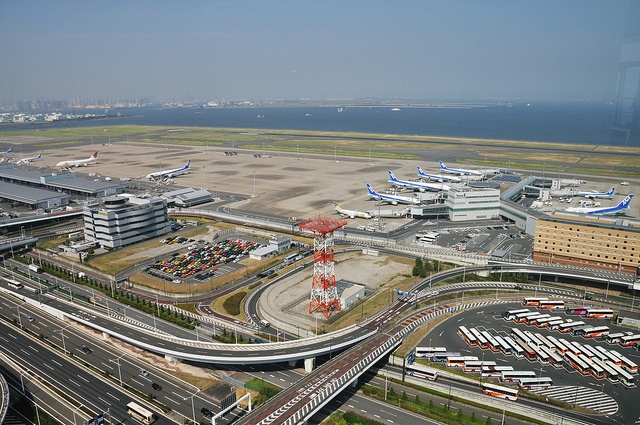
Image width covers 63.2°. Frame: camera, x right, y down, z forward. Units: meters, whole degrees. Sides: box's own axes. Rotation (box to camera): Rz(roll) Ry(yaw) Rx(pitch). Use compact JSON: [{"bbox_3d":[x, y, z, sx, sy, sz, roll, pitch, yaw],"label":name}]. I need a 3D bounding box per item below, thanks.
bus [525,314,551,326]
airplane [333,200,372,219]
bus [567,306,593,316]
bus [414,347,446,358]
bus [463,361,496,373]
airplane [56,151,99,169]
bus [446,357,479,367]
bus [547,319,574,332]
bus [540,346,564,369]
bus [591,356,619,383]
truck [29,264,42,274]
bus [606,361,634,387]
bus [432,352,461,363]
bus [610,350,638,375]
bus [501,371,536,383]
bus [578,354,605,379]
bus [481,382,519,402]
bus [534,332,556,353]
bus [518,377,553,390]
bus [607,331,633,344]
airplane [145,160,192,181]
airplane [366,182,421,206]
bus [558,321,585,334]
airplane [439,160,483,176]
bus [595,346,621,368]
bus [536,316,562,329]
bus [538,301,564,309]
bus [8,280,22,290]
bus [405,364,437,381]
[{"bbox_3d":[37.165,18.741,90.556,6.353,1.220,1.271,-6,41,-8],"label":"bus"},{"bbox_3d":[8.743,-0.148,133.760,5.871,2.764,9.506,-12,16,-42],"label":"airplane"},{"bbox_3d":[45.643,17.519,92.832,5.459,0.983,1.410,-1,11,-5],"label":"bus"},{"bbox_3d":[17.477,22.558,83.787,5.932,1.364,1.493,0,-25,2],"label":"bus"},{"bbox_3d":[25.454,24.096,81.460,6.205,1.280,1.545,-1,36,0],"label":"bus"},{"bbox_3d":[-97.280,-20.892,208.767,14.548,4.015,10.894,-9,23,-22],"label":"airplane"},{"bbox_3d":[22.916,23.566,82.173,5.891,1.255,1.510,-2,36,2],"label":"bus"},{"bbox_3d":[41.723,19.245,89.857,5.828,1.106,1.476,-9,22,-21],"label":"bus"},{"bbox_3d":[37.013,23.088,82.845,1.868,2.012,3.217,-7,14,-21],"label":"bus"},{"bbox_3d":[44.301,24.271,80.836,1.427,0.926,3.978,-16,28,-14],"label":"bus"},{"bbox_3d":[-58.618,11.553,107.055,3.018,0.635,1.414,8,16,16],"label":"truck"},{"bbox_3d":[46.388,24.784,80.364,1.506,0.937,4.267,-7,19,-14],"label":"bus"},{"bbox_3d":[20.514,23.071,82.878,5.351,1.064,1.405,0,15,1],"label":"bus"},{"bbox_3d":[48.056,23.597,82.286,1.606,0.986,4.382,-9,22,-11],"label":"bus"},{"bbox_3d":[30.090,25.173,79.835,6.019,1.082,1.656,-1,18,2],"label":"bus"},{"bbox_3d":[42.427,23.875,81.400,1.465,0.905,4.114,-9,21,-9],"label":"bus"},{"bbox_3d":[27.020,26.683,77.705,6.506,1.308,1.794,7,9,11],"label":"bus"},{"bbox_3d":[37.523,21.966,86.176,2.114,0.747,3.976,-8,25,-26],"label":"bus"},{"bbox_3d":[32.631,25.890,78.983,5.768,1.235,1.656,1,14,1],"label":"bus"},{"bbox_3d":[50.249,20.832,87.148,6.273,1.136,1.505,-7,17,-14],"label":"bus"},{"bbox_3d":[-54.511,-15.028,187.409,11.179,3.060,10.192,-17,23,-39],"label":"airplane"},{"bbox_3d":[20.272,-3.954,142.391,9.807,2.759,7.918,6,11,28],"label":"airplane"},{"bbox_3d":[42.423,19.487,89.058,6.695,1.268,1.439,-4,25,-10],"label":"bus"},{"bbox_3d":[50.842,-15.995,187.533,13.106,3.549,7.669,4,17,20],"label":"airplane"},{"bbox_3d":[45.948,22.883,83.114,1.343,0.833,3.757,-12,24,-14],"label":"bus"},{"bbox_3d":[38.940,18.877,89.942,6.388,1.236,1.396,-6,27,-12],"label":"bus"},{"bbox_3d":[41.868,16.634,94.527,6.270,1.113,1.458,-3,13,-2],"label":"bus"},{"bbox_3d":[-59.703,14.097,101.779,4.249,1.121,1.271,19,21,17],"label":"bus"},{"bbox_3d":[15.908,24.981,81.072,5.234,1.201,1.618,11,-9,18],"label":"bus"}]
